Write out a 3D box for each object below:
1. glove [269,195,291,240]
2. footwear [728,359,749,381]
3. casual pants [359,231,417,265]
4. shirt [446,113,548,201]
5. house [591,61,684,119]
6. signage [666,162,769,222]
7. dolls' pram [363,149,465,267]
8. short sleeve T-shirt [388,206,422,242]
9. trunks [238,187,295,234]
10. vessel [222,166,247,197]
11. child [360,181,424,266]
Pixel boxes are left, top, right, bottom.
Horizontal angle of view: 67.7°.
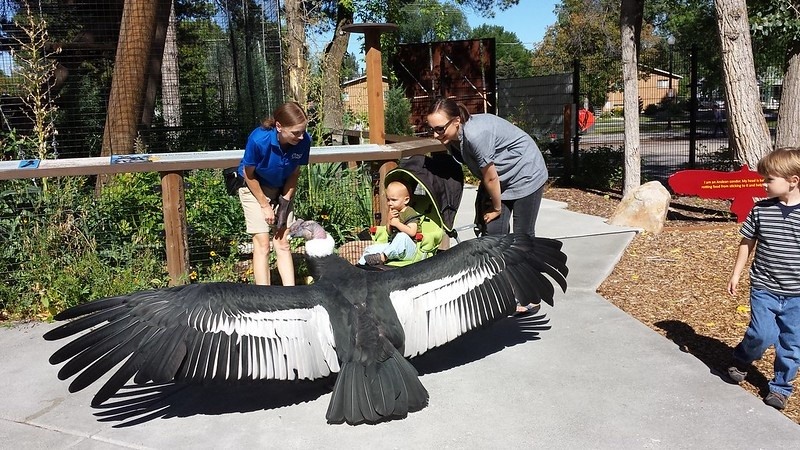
[{"bbox_3d":[-1.551,-0.089,7.839,0.147,0.497,0.321,10,36,-32],"label":"glove"},{"bbox_3d":[3.751,1.647,6.693,0.149,0.133,0.302,0,-6,34],"label":"footwear"},{"bbox_3d":[-0.112,0.321,7.488,0.519,0.225,0.444,-9,-3,-43],"label":"casual pants"},{"bbox_3d":[1.295,-0.913,7.687,1.094,1.067,0.899,2,18,26],"label":"shirt"},{"bbox_3d":[7.600,-3.890,19.148,2.436,1.374,2.560,6,-18,-5],"label":"house"},{"bbox_3d":[5.884,-0.440,10.315,2.021,1.023,0.031,-1,2,-5],"label":"signage"},{"bbox_3d":[0.112,-0.192,7.699,1.335,1.449,1.086,-3,10,-12],"label":"dolls' pram"},{"bbox_3d":[0.067,-0.013,7.573,0.396,0.417,0.238,-3,-9,26],"label":"short sleeve T-shirt"},{"bbox_3d":[-1.856,-0.175,7.828,0.649,0.644,0.195,-15,11,-19],"label":"trunks"},{"bbox_3d":[-2.181,-0.576,8.017,0.315,0.405,0.171,0,6,10],"label":"vessel"},{"bbox_3d":[-0.141,-0.031,7.611,0.718,1.025,0.869,-1,6,29],"label":"child"}]
